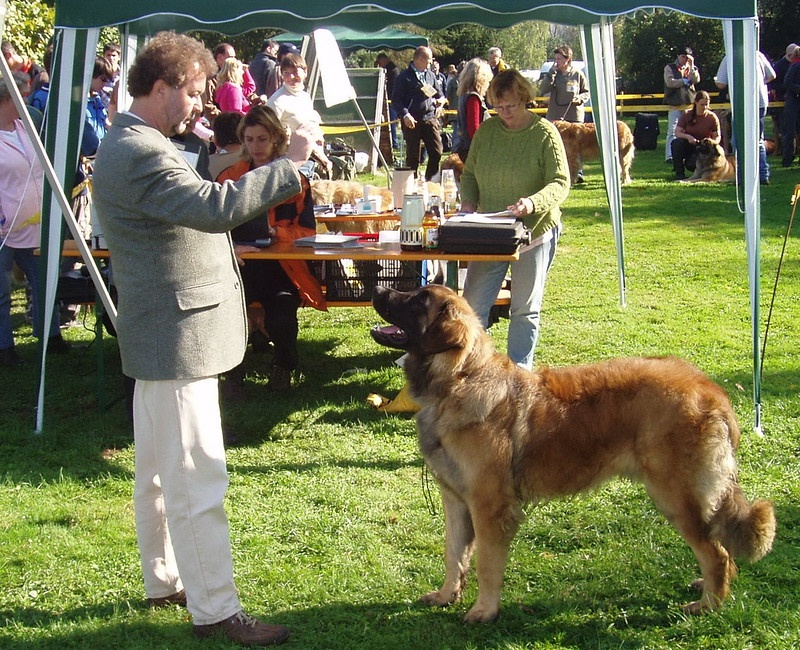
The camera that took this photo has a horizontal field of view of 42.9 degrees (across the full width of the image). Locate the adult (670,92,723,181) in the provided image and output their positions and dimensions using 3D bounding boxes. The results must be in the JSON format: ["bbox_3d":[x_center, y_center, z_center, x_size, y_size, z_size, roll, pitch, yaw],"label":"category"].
[{"bbox_3d":[4.988,-3.156,17.228,0.844,1.451,1.084,0,18,-4],"label":"adult"}]

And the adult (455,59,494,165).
[{"bbox_3d":[0.897,-2.294,12.167,0.502,1.741,0.501,3,28,3],"label":"adult"}]

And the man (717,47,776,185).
[{"bbox_3d":[5.181,-3.186,15.421,0.832,2.429,0.682,-1,-8,6],"label":"man"}]

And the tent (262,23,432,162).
[{"bbox_3d":[-0.927,-5.078,20.616,3.082,2.911,3.829,7,34,11],"label":"tent"}]

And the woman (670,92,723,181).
[{"bbox_3d":[4.965,-3.153,17.208,0.966,1.480,1.029,-2,15,-19],"label":"woman"}]

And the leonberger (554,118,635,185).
[{"bbox_3d":[3.073,-2.798,16.214,1.766,1.156,0.502,8,28,42],"label":"leonberger"}]
